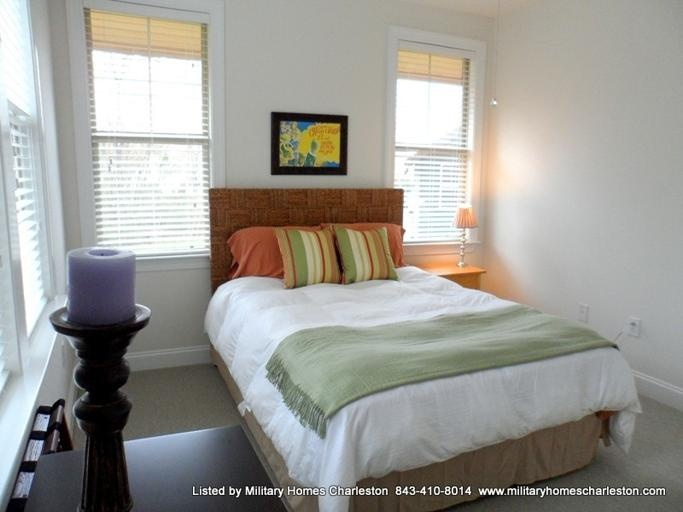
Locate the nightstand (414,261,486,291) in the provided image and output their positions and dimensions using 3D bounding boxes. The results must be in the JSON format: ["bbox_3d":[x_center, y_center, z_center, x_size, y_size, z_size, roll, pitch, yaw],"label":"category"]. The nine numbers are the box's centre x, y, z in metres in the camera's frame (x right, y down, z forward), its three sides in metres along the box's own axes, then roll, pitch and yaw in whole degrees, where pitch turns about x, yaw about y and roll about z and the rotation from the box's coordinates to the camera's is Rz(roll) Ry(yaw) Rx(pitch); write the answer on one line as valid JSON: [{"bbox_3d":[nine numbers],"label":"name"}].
[{"bbox_3d":[1.017,0.136,4.904,0.621,0.267,0.605,3,9,-20],"label":"nightstand"}]

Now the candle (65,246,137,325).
[{"bbox_3d":[-0.644,0.075,1.309,0.156,0.187,0.161,12,13,14],"label":"candle"}]

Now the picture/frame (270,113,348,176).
[{"bbox_3d":[-0.280,-0.982,4.278,0.696,0.527,0.039,-4,11,-20],"label":"picture/frame"}]
